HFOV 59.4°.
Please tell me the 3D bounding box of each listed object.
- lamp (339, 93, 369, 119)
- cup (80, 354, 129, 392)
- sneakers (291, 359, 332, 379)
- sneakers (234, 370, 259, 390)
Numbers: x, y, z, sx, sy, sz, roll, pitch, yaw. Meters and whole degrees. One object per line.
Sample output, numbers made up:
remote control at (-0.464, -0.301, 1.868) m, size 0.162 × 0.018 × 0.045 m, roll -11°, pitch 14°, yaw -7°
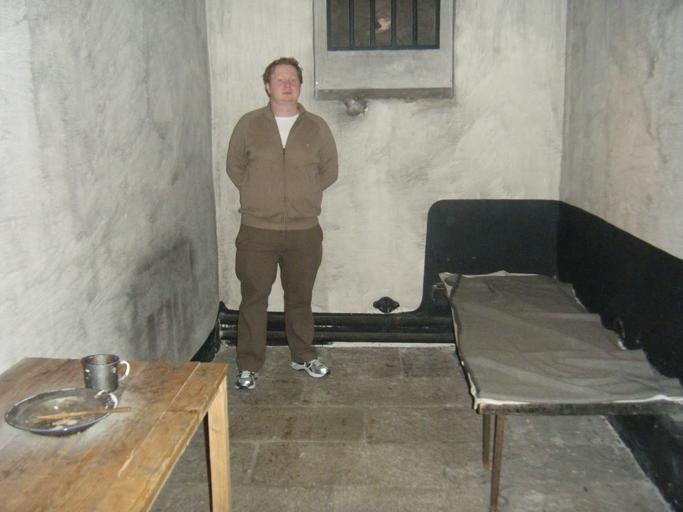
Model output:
lamp at (0.102, -1.103, 4.378) m, size 0.174 × 0.151 × 0.036 m, roll -3°, pitch 17°, yaw -6°
cup at (-0.874, 0.430, 2.200) m, size 0.157 × 0.114 × 0.122 m, roll 3°, pitch 8°, yaw -14°
sneakers at (-0.217, 0.767, 4.214) m, size 0.248 × 0.108 × 0.108 m, roll 6°, pitch 10°, yaw 22°
sneakers at (-0.643, 0.827, 4.026) m, size 0.070 × 0.072 × 0.181 m, roll 0°, pitch 10°, yaw -2°
